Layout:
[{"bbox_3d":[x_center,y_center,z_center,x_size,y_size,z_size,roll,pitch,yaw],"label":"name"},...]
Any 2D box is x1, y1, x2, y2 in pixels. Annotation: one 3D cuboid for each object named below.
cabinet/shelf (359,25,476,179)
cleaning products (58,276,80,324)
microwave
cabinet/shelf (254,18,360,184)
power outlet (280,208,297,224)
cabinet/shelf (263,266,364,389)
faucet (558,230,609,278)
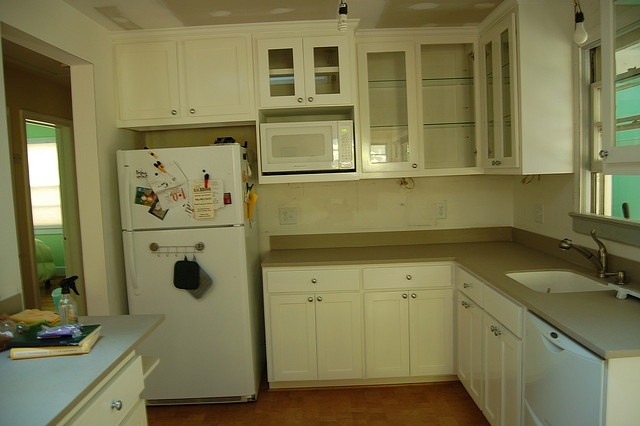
[{"bbox_3d":[0.804,-0.987,4.350,1.344,1.441,0.455,0,2,-2],"label":"cabinet/shelf"},{"bbox_3d":[-1.540,0.539,3.109,0.124,0.235,0.215,-7,4,-27],"label":"cleaning products"},{"bbox_3d":[-0.103,-0.551,4.418,0.730,0.358,0.453,-1,2,0],"label":"microwave"},{"bbox_3d":[-0.104,-0.916,4.365,0.882,1.195,0.426,-2,7,-1],"label":"cabinet/shelf"},{"bbox_3d":[-0.296,0.020,4.675,0.151,0.138,0.019,1,7,-1],"label":"power outlet"},{"bbox_3d":[-0.042,0.916,4.227,1.015,1.129,0.594,-1,1,0],"label":"cabinet/shelf"},{"bbox_3d":[1.920,0.293,3.668,0.290,0.335,0.352,-2,5,33],"label":"faucet"}]
